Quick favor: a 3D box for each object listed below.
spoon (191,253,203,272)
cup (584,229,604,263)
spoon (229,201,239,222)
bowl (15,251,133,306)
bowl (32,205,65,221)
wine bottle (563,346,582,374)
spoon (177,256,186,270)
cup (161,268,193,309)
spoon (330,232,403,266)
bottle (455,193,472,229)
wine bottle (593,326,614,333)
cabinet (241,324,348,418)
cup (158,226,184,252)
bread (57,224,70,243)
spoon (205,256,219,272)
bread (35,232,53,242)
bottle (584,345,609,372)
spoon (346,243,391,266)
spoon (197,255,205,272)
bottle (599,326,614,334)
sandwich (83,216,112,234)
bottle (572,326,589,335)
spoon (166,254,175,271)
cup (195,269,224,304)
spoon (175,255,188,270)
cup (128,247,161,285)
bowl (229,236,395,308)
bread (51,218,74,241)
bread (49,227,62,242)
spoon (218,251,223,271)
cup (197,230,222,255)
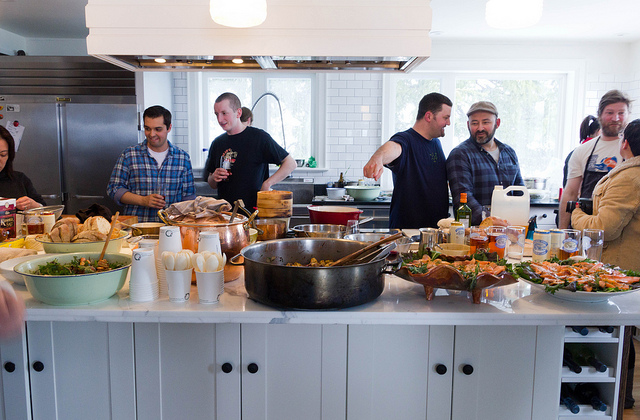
[{"bbox_3d":[-0.574,0.247,2.335,0.067,0.051,0.072,-1,14,-4],"label":"spoon"},{"bbox_3d":[1.560,0.200,2.801,0.148,0.174,0.073,-2,8,-22],"label":"cup"},{"bbox_3d":[-0.453,0.008,2.601,0.027,0.121,0.011,25,-11,-16],"label":"spoon"},{"bbox_3d":[-1.186,0.305,2.325,0.362,0.134,0.348,8,9,-1],"label":"bowl"},{"bbox_3d":[-1.871,0.031,3.463,0.159,0.061,0.148,0,-4,0],"label":"bowl"},{"bbox_3d":[1.230,0.733,2.404,0.038,0.030,0.139,20,11,11],"label":"wine bottle"},{"bbox_3d":[-0.653,0.251,2.329,0.040,0.056,0.057,3,6,4],"label":"spoon"},{"bbox_3d":[-0.668,0.368,2.332,0.180,0.170,0.172,2,4,0],"label":"cup"},{"bbox_3d":[0.232,0.201,2.498,0.342,0.042,0.024,-23,45,11],"label":"spoon"},{"bbox_3d":[1.003,0.025,3.447,0.134,0.296,0.130,-3,13,1],"label":"bottle"},{"bbox_3d":[1.352,0.565,2.347,0.076,0.030,0.018,3,7,19],"label":"wine bottle"},{"bbox_3d":[-0.110,0.735,2.706,0.709,0.594,0.463,1,-1,2],"label":"cabinet"},{"bbox_3d":[-0.739,0.139,2.428,0.114,0.107,0.120,1,-1,0],"label":"cup"},{"bbox_3d":[-1.381,0.124,2.665,0.073,0.087,0.031,-3,-6,12],"label":"bread"},{"bbox_3d":[-0.512,0.255,2.322,0.065,0.044,0.065,5,36,1],"label":"spoon"},{"bbox_3d":[-1.524,0.152,2.734,0.080,0.028,0.074,4,-2,-3],"label":"bread"},{"bbox_3d":[1.342,0.714,2.387,0.093,0.087,0.146,3,6,17],"label":"bottle"},{"bbox_3d":[0.235,0.214,2.380,0.031,0.137,0.022,33,26,-38],"label":"spoon"},{"bbox_3d":[-0.564,0.251,2.328,0.039,0.065,0.017,-13,4,-13],"label":"spoon"},{"bbox_3d":[1.360,0.568,2.345,0.069,0.035,0.020,1,7,3],"label":"bottle"},{"bbox_3d":[-1.221,0.069,2.713,0.139,0.034,0.131,28,22,5],"label":"sandwich"},{"bbox_3d":[1.236,0.568,2.331,0.066,0.037,0.020,2,7,7],"label":"bottle"},{"bbox_3d":[-0.709,0.245,2.330,0.058,0.062,0.021,-1,3,16],"label":"spoon"},{"bbox_3d":[-0.522,0.356,2.328,0.163,0.140,0.150,1,1,0],"label":"cup"},{"bbox_3d":[-0.655,0.248,2.331,0.059,0.059,0.045,-2,-31,-3],"label":"spoon"},{"bbox_3d":[-0.844,0.269,2.375,0.096,0.169,0.114,4,8,23],"label":"cup"},{"bbox_3d":[-0.033,0.306,2.493,0.663,0.247,0.690,1,5,0],"label":"bowl"},{"bbox_3d":[-1.391,0.101,2.669,0.124,0.102,0.031,-5,-8,11],"label":"bread"},{"bbox_3d":[-1.438,0.139,2.677,0.079,0.065,0.020,-7,-3,21],"label":"bread"},{"bbox_3d":[-0.475,0.242,2.358,0.024,0.057,0.055,4,-4,-12],"label":"spoon"},{"bbox_3d":[-0.546,0.161,2.444,0.113,0.113,0.112,1,7,0],"label":"cup"}]
